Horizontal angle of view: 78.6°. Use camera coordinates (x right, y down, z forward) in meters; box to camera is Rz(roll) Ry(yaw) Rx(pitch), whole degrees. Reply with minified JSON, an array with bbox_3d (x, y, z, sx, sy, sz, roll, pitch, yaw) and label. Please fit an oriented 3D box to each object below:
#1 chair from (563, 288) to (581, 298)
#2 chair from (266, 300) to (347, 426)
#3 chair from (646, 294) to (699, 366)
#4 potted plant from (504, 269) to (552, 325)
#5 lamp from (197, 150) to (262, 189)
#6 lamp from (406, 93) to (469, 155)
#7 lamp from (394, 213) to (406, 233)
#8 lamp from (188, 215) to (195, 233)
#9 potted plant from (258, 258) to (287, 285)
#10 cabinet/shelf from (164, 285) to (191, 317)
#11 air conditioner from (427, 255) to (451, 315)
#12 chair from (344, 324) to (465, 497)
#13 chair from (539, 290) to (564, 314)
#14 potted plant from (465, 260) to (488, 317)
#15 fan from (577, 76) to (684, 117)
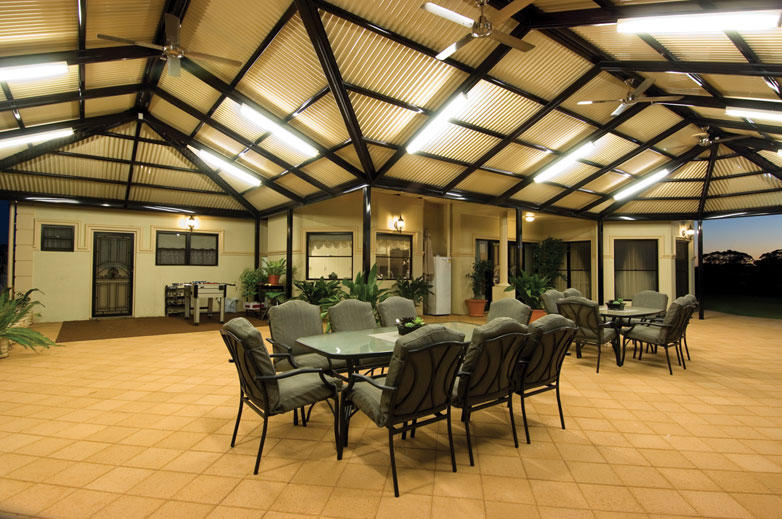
[{"bbox_3d":[3.683,0.668,9.610,0.218,0.103,0.311,0,-6,-5],"label":"chair"},{"bbox_3d":[-1.096,1.244,6.672,1.097,1.206,0.985,3,4,35],"label":"chair"},{"bbox_3d":[4.885,1.335,8.604,0.914,1.263,0.966,-4,4,-42],"label":"chair"},{"bbox_3d":[3.492,0.737,11.794,1.070,0.838,1.059,-10,11,-34],"label":"potted plant"},{"bbox_3d":[-3.911,-2.187,11.782,1.409,0.708,1.456,-1,-2,-16],"label":"lamp"},{"bbox_3d":[0.910,-2.477,8.919,0.532,0.735,1.534,0,-3,-41],"label":"lamp"},{"bbox_3d":[0.233,-0.951,12.502,0.313,0.506,0.475,-2,-2,0],"label":"lamp"},{"bbox_3d":[-5.616,-1.026,13.487,0.185,0.458,0.522,-1,-2,-23],"label":"lamp"},{"bbox_3d":[-3.195,0.325,13.081,0.860,0.639,0.800,1,-10,-1],"label":"potted plant"},{"bbox_3d":[-5.773,1.115,12.958,0.589,0.899,1.557,-1,-2,-28],"label":"cabinet/shelf"},{"bbox_3d":[1.257,0.730,13.521,0.802,1.607,0.636,-3,-3,44],"label":"air conditioner"},{"bbox_3d":[0.186,1.664,5.503,1.355,1.817,0.653,-2,-2,1],"label":"chair"},{"bbox_3d":[3.185,0.825,9.351,0.511,0.522,0.510,1,-10,-8],"label":"chair"},{"bbox_3d":[2.502,0.798,13.722,0.620,1.609,1.177,-3,-2,18],"label":"potted plant"},{"bbox_3d":[4.297,-2.975,8.470,1.239,0.459,1.269,12,0,12],"label":"fan"}]
